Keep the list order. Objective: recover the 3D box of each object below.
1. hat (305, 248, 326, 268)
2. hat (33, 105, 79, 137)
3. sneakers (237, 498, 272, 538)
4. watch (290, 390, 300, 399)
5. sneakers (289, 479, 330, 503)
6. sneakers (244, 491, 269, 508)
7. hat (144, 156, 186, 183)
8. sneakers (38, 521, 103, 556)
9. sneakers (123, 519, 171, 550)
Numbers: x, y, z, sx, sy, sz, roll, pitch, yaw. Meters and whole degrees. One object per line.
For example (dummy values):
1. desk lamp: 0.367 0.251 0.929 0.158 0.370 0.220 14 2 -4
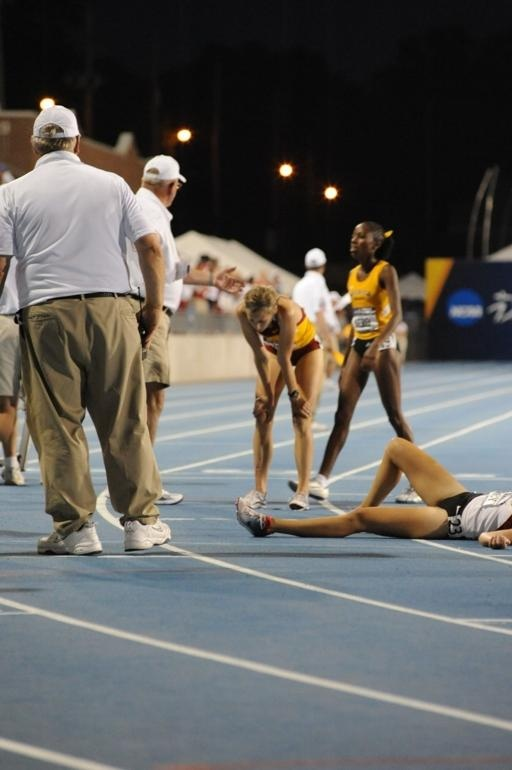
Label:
1. hat: 0.804 -1.696 11.898 0.308 0.223 0.299 -1 27 7
2. hat: -1.032 -1.377 4.533 0.181 0.120 0.232 0 25 -3
3. sneakers: -0.013 0.759 4.989 0.144 0.097 0.289 -19 38 0
4. watch: 0.262 0.064 6.061 0.064 0.054 0.049 -2 -18 34
5. sneakers: 0.419 0.776 6.623 0.129 0.140 0.359 9 -14 47
6. sneakers: -0.025 0.788 5.990 0.099 0.093 0.242 -2 -7 30
7. hat: -0.622 -1.474 6.013 0.186 0.140 0.257 13 28 24
8. sneakers: -0.948 0.770 4.402 0.370 0.150 0.146 0 -2 30
9. sneakers: -0.561 0.769 4.548 0.119 0.124 0.300 0 3 28
